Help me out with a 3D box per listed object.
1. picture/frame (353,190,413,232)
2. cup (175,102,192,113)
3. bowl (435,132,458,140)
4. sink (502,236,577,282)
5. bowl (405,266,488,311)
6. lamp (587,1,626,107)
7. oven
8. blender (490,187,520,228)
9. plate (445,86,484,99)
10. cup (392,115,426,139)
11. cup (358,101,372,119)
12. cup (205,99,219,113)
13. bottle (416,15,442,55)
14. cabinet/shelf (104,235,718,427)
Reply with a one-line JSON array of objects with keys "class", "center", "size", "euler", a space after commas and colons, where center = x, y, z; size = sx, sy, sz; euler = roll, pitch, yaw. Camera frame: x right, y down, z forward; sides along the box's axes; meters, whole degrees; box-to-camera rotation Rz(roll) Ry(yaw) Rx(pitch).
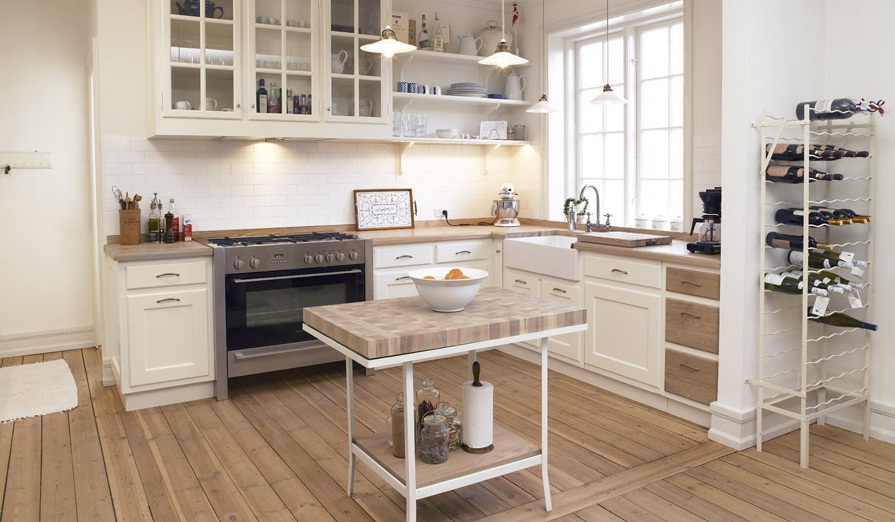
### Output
[{"class": "picture/frame", "center": [-0.764, -0.567, 6.893], "size": [0.561, 0.330, 0.042], "euler": [-2, -3, -27]}, {"class": "cup", "center": [-2.467, -1.443, 5.702], "size": [0.120, 0.072, 0.079], "euler": [1, 3, 7]}, {"class": "bowl", "center": [-0.024, -1.444, 6.982], "size": [0.137, 0.047, 0.135], "euler": [0, 2, 0]}, {"class": "sink", "center": [0.940, -0.016, 6.119], "size": [0.509, 0.222, 0.695], "euler": [-4, 7, -35]}, {"class": "bowl", "center": [0.002, 0.199, 4.196], "size": [0.596, 0.217, 0.546], "euler": [0, 7, 0]}, {"class": "lamp", "center": [1.645, -2.153, 6.216], "size": [0.319, 1.134, 1.219], "euler": [2, 12, 15]}, {"class": "oven", "center": [-1.690, 0.445, 6.135], "size": [1.705, 1.209, 0.923], "euler": [-5, 8, -42]}, {"class": "blender", "center": [0.661, -0.645, 7.113], "size": [0.304, 0.483, 0.307], "euler": [-1, 12, 4]}, {"class": "plate", "center": [0.226, -1.966, 7.075], "size": [0.503, 0.181, 0.314], "euler": [-4, 12, -15]}, {"class": "cup", "center": [-0.425, -1.512, 6.840], "size": [0.427, 0.283, 0.161], "euler": [-11, 16, -39]}, {"class": "cup", "center": [-0.855, -1.580, 6.328], "size": [0.153, 0.164, 0.188], "euler": [-6, 10, -41]}, {"class": "cup", "center": [-2.233, -1.473, 5.782], "size": [0.110, 0.115, 0.045], "euler": [-6, 13, -21]}, {"class": "bottle", "center": [-0.202, -2.598, 6.977], "size": [0.300, 0.462, 0.282], "euler": [-2, 12, 0]}, {"class": "cabinet/shelf", "center": [-0.246, 0.470, 5.507], "size": [3.126, 0.806, 2.624], "euler": [-2, 2, -26]}]
